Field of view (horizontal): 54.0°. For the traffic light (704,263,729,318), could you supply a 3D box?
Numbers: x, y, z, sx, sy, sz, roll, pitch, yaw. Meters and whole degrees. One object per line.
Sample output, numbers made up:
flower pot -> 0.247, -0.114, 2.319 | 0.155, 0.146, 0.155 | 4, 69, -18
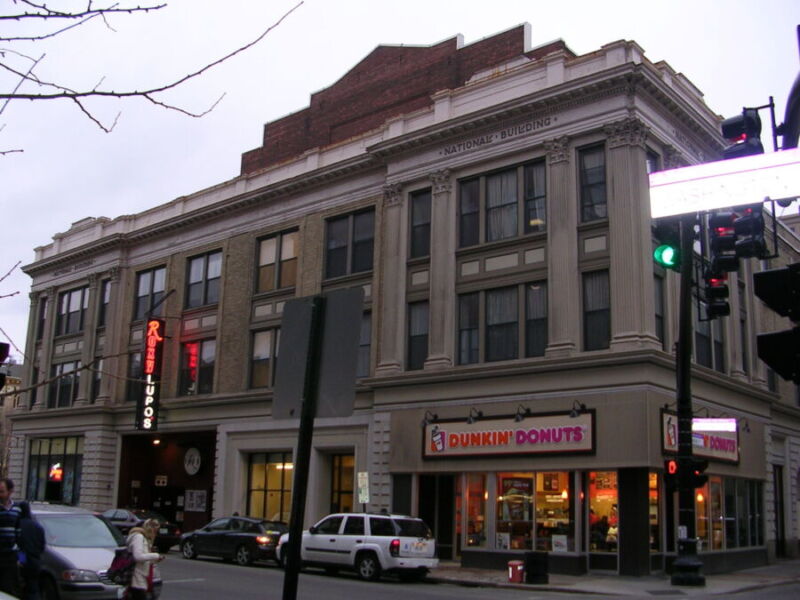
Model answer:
traffic light -> 6.434, -0.202, 16.001 | 0.444, 1.219, 1.150 | -7, -19, 20

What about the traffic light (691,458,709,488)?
traffic light -> 8.400, 4.843, 22.128 | 0.480, 0.795, 0.614 | -7, -19, 19

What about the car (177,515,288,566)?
car -> -5.935, 8.509, 27.883 | 4.130, 1.667, 0.778 | -13, -22, 33

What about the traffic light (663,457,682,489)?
traffic light -> 7.780, 4.926, 22.444 | 0.453, 0.890, 0.797 | -6, -19, 17

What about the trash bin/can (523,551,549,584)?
trash bin/can -> 4.101, 8.028, 23.639 | 0.698, 0.907, 0.612 | -1, -18, 1

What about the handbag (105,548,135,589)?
handbag -> -4.810, 4.590, 13.563 | 0.527, 0.639, 0.221 | -12, -21, 32
